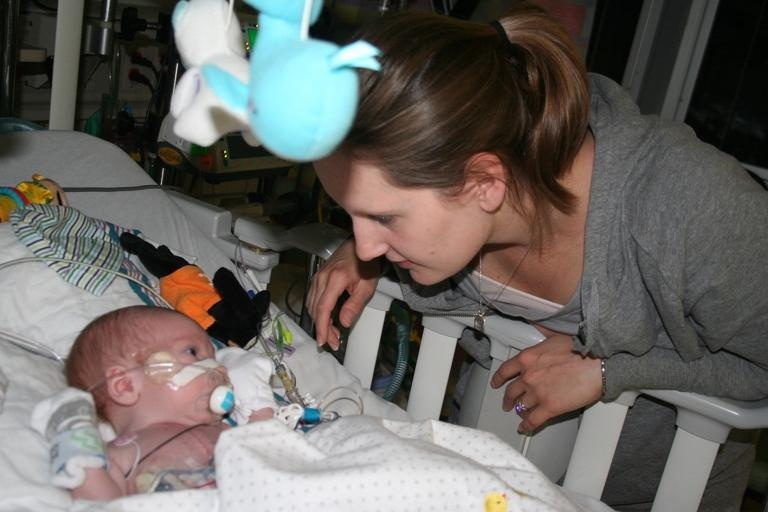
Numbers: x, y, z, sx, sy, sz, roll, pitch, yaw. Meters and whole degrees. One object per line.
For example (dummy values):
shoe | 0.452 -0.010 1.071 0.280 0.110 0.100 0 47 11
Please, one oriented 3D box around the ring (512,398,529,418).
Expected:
ring | 0.407 0.454 1.763 0.017 0.048 0.037 10 66 -26

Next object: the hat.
hat | -0.971 -0.018 1.824 0.304 0.208 0.260 -10 33 -34

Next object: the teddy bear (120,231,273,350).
teddy bear | -0.619 0.092 1.975 0.518 0.213 0.304 42 33 12
